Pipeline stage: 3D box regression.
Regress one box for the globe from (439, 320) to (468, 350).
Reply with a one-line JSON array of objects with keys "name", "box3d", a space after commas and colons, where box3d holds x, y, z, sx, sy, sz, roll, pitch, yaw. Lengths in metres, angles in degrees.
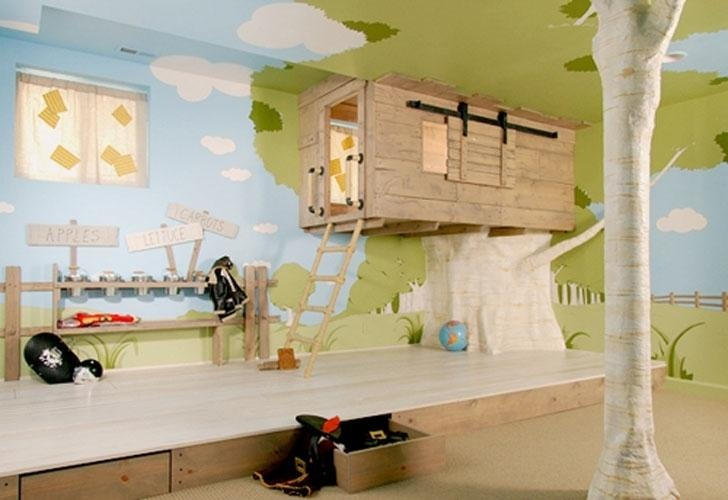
[{"name": "globe", "box3d": [1.153, 1.084, 7.244, 0.379, 0.406, 0.367, -1, -3, 3]}]
